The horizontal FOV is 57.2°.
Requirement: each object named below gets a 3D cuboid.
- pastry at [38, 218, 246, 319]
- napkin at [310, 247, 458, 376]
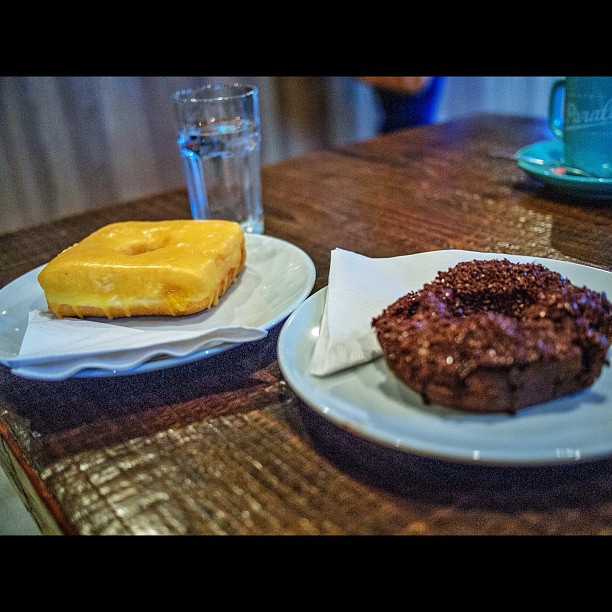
[{"bbox_3d":[-0.167,-0.044,0.600,0.225,0.054,0.203,-21,31,-33],"label":"pastry"},{"bbox_3d":[0.066,0.020,0.505,0.108,0.023,0.139,11,34,5],"label":"napkin"}]
